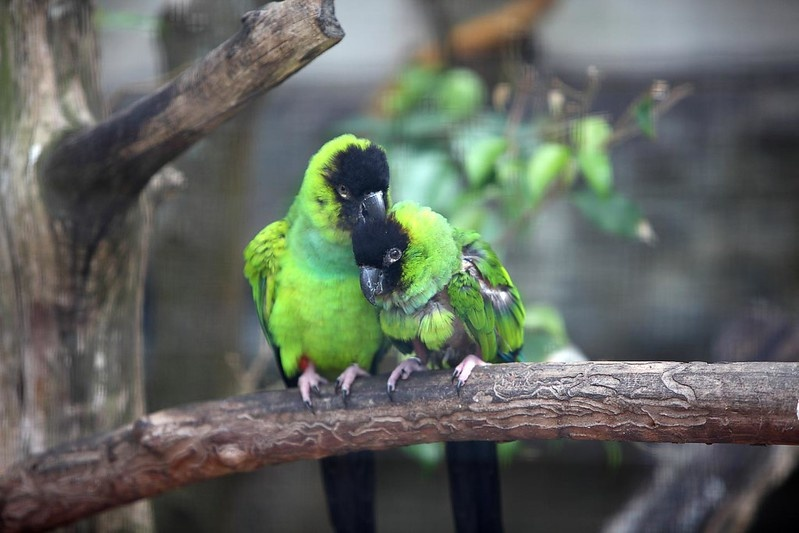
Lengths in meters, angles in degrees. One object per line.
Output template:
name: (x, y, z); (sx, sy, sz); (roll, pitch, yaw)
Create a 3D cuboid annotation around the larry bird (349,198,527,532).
larry bird: (0.134, 0.326, 4.309); (0.539, 1.061, 0.368); (-1, 8, 5)
